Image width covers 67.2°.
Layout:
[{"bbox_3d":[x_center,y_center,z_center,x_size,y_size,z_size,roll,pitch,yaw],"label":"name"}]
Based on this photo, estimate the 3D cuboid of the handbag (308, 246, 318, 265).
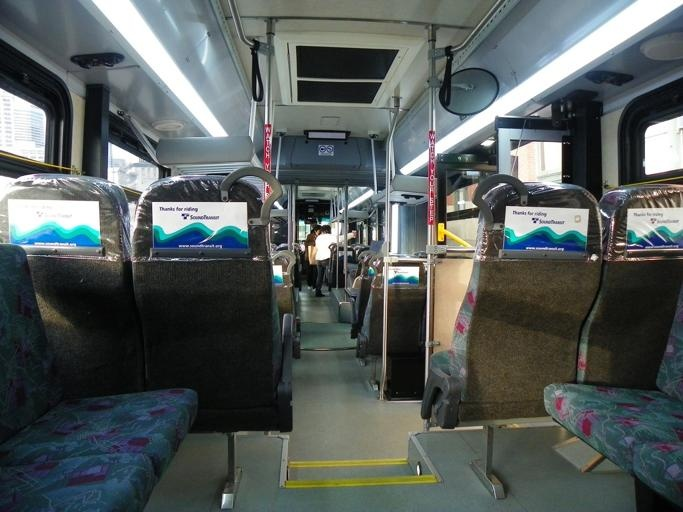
[{"bbox_3d":[-0.613,-0.028,10.691,0.222,0.439,0.414,0,-2,-5],"label":"handbag"}]
